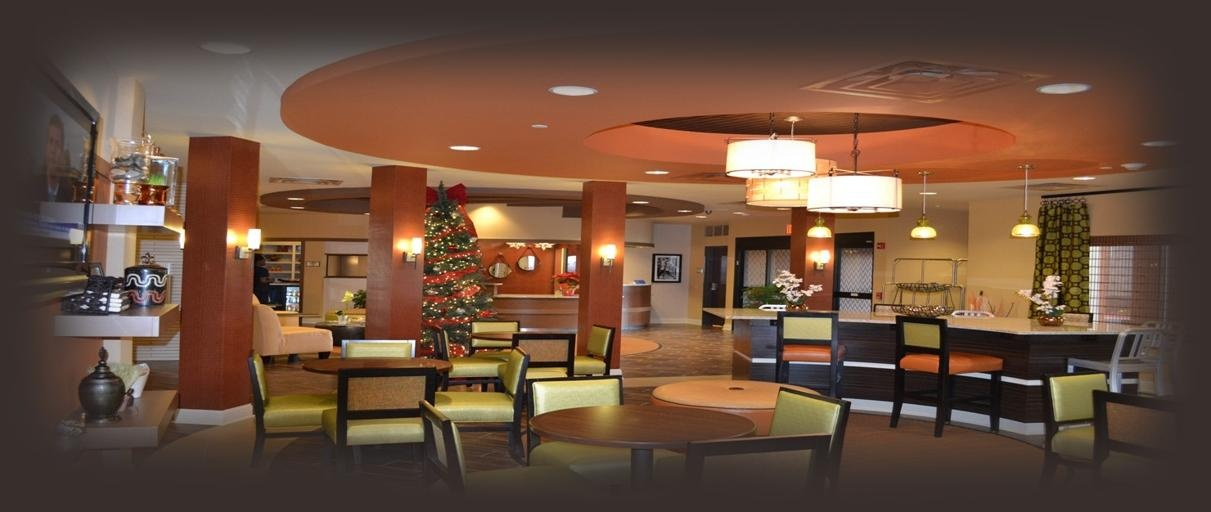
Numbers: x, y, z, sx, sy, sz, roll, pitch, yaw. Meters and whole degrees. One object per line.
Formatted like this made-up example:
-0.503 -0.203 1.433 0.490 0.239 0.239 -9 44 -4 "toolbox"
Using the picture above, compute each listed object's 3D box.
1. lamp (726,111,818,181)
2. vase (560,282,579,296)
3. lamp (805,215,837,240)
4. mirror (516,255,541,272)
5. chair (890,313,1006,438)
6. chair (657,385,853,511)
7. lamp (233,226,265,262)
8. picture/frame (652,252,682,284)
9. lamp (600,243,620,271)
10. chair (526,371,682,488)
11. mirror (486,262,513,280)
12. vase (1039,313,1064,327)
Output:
2.526 -1.524 10.202 1.185 0.729 1.012 2 0 25 "lamp"
-1.158 1.007 21.575 0.603 0.244 0.486 -1 0 15 "vase"
5.037 -0.662 16.363 0.935 0.416 0.724 0 -1 2 "lamp"
-2.501 0.217 22.412 0.847 0.387 0.096 0 1 -22 "mirror"
5.494 1.880 11.460 1.716 1.853 0.822 1 -1 -5 "chair"
1.560 2.337 8.080 1.993 1.410 1.471 0 4 -16 "chair"
-5.850 -0.202 11.533 0.178 0.372 0.494 1 -1 5 "lamp"
2.106 0.400 23.981 1.115 0.998 0.181 1 -1 -32 "picture/frame"
0.091 -0.011 14.719 0.405 0.490 0.117 1 -1 -7 "lamp"
-0.306 2.118 8.930 1.793 1.537 1.555 1 -4 -17 "chair"
-3.363 0.456 22.079 0.906 0.409 0.110 1 -2 -16 "mirror"
7.506 1.063 11.923 0.327 0.181 0.297 0 -1 16 "vase"
